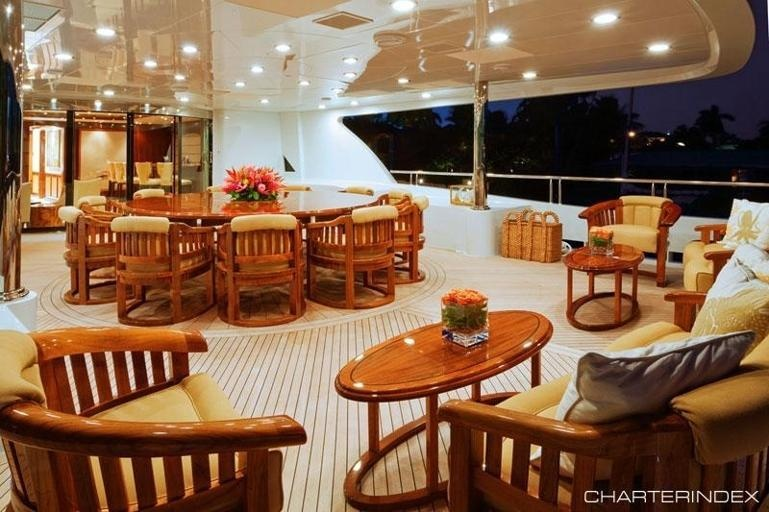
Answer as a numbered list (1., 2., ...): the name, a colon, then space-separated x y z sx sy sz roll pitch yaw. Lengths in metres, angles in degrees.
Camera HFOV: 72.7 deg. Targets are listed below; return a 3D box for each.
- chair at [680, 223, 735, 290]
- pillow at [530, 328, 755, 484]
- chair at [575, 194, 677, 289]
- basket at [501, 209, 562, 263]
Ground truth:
1. chair: 3.133 0.002 5.063 0.368 0.350 0.863 1 12 18
2. pillow: 1.029 0.582 2.038 0.496 0.140 0.481 -17 -13 -48
3. chair: 3.189 -0.211 6.769 1.144 1.042 1.034 7 13 36
4. basket: 2.263 -0.331 8.080 0.882 0.755 0.489 9 13 44
